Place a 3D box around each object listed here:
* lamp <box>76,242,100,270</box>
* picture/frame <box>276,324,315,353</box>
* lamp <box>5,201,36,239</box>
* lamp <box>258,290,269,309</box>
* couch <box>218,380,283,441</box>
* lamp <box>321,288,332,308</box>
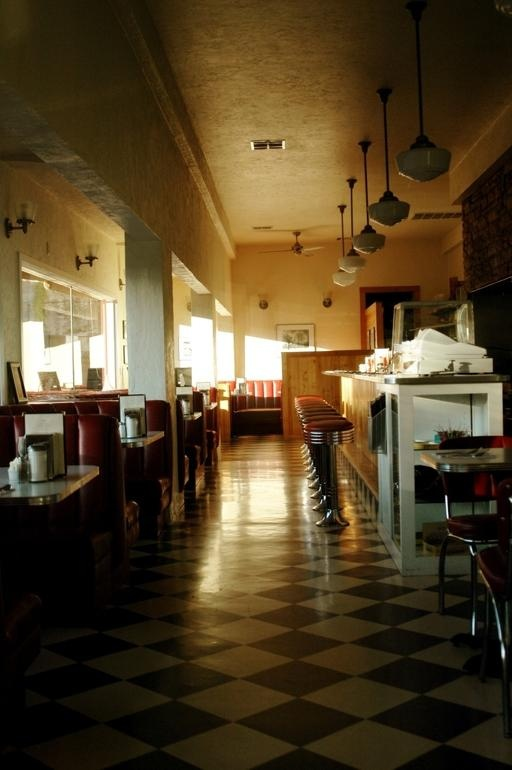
[{"bbox_3d":[-2.373,-1.788,8.104,0.328,0.452,0.300,-2,5,2],"label":"lamp"},{"bbox_3d":[0.936,-1.094,13.380,0.643,0.524,0.029,1,2,5],"label":"picture/frame"},{"bbox_3d":[-2.252,-1.569,5.584,0.288,0.382,0.226,-1,2,4],"label":"lamp"},{"bbox_3d":[0.167,-1.961,13.417,0.263,0.460,0.132,-1,-4,-4],"label":"lamp"},{"bbox_3d":[0.082,0.457,12.529,1.210,1.148,1.065,-2,-2,-9],"label":"couch"},{"bbox_3d":[1.622,-1.959,13.294,0.298,0.347,0.296,-13,19,-39],"label":"lamp"}]
